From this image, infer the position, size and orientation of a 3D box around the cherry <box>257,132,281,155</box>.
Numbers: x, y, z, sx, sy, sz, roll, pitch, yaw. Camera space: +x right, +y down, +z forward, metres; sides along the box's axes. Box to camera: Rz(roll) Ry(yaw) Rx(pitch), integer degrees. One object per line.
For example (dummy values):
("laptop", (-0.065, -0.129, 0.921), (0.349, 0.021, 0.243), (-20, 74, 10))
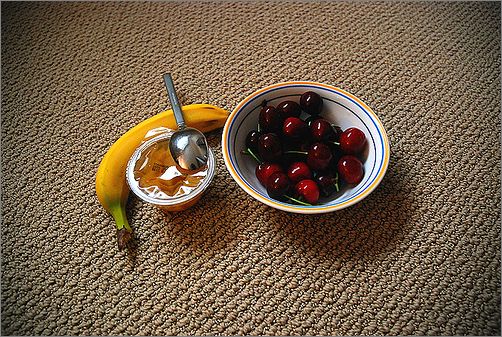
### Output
("cherry", (0.047, -0.057, 1.172), (0.057, 0.022, 0.053), (-2, 82, 2))

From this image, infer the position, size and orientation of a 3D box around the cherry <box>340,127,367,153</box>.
("cherry", (0.252, -0.065, 1.183), (0.067, 0.042, 0.062), (0, 82, 2))

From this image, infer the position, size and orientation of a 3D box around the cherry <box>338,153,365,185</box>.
("cherry", (0.240, -0.009, 1.181), (0.060, 0.066, 0.066), (1, 74, 7))

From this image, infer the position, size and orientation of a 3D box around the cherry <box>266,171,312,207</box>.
("cherry", (0.073, 0.044, 1.158), (0.104, 0.122, 0.072), (-1, 123, -5))

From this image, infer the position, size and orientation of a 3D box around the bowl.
("bowl", (0.101, -0.039, 1.167), (0.346, 0.125, 0.347), (-1, 74, 2))

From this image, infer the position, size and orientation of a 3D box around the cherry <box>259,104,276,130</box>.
("cherry", (0.150, -0.163, 1.220), (0.077, 0.058, 0.058), (-5, 95, -30))

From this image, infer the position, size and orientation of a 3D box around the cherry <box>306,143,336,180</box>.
("cherry", (0.167, -0.031, 1.182), (0.059, 0.060, 0.070), (0, 96, -16))

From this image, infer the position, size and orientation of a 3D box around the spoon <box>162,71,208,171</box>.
("spoon", (-0.180, -0.128, 1.241), (0.091, 0.103, 0.297), (-19, 82, 0))

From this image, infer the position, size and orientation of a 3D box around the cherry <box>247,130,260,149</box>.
("cherry", (0.004, -0.071, 1.199), (0.031, 0.023, 0.041), (21, 102, 30))

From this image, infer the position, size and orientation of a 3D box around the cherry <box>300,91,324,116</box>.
("cherry", (0.149, -0.157, 1.231), (0.059, 0.045, 0.045), (49, 65, -11))

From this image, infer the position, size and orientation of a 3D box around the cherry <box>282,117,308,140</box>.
("cherry", (0.111, -0.105, 1.202), (0.056, 0.055, 0.057), (1, 103, 19))
